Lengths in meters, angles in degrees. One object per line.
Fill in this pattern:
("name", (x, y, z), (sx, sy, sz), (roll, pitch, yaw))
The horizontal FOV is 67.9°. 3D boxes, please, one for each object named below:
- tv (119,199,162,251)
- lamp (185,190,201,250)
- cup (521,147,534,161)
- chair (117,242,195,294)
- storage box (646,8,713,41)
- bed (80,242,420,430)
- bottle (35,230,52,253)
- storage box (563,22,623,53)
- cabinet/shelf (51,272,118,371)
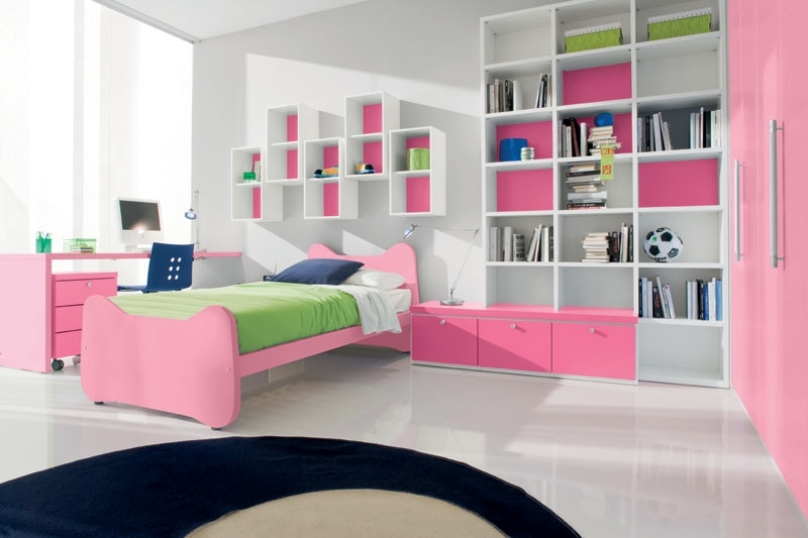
("tv", (-2.853, -0.473, 6.455), (0.210, 0.573, 0.601), (-1, 1, 27))
("lamp", (-2.478, -0.595, 7.096), (0.159, 0.682, 0.413), (-3, 11, -18))
("cup", (1.122, -1.037, 5.454), (0.130, 0.125, 0.132), (0, -3, 0))
("chair", (-2.321, 0.012, 5.500), (0.495, 0.483, 0.699), (3, 3, 17))
("storage box", (2.254, -1.985, 4.883), (0.471, 0.236, 0.152), (4, 11, 19))
("bed", (-1.125, 0.284, 4.914), (1.369, 0.991, 2.154), (3, 4, 31))
("bottle", (-3.263, -0.254, 5.430), (0.122, 0.181, 0.268), (-6, 13, -33))
("storage box", (1.644, -1.963, 5.120), (0.386, 0.154, 0.197), (2, 7, 30))
("cabinet/shelf", (-3.083, 0.452, 5.479), (0.494, 0.771, 0.867), (-2, 1, 9))
